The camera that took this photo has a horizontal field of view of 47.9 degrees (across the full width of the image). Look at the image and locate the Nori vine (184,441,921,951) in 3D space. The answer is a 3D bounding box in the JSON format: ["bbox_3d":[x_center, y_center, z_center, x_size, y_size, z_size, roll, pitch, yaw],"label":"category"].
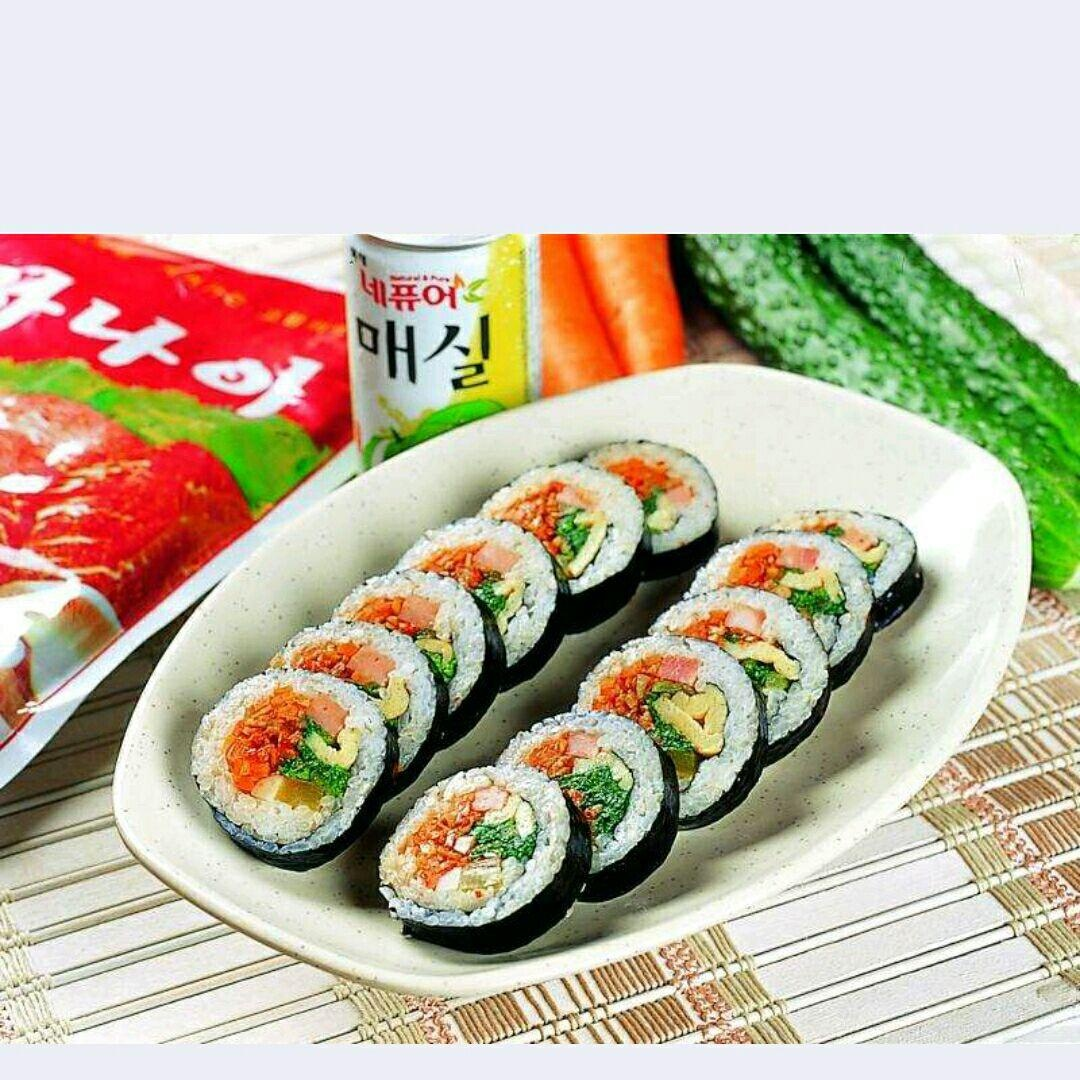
[{"bbox_3d":[0.041,0.147,1.348,0.712,0.106,0.438,-33,49,-26],"label":"Nori vine"}]
